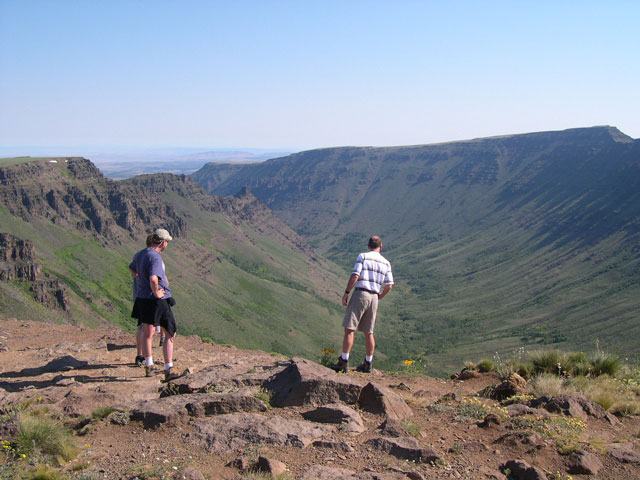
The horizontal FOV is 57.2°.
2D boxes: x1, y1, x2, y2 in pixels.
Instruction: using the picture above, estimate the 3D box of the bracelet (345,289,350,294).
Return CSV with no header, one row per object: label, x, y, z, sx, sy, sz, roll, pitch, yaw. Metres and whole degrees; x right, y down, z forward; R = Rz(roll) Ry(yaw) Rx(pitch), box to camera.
bracelet,0.820,1.544,17.794,0.125,0.108,0.122,4,-7,-31
